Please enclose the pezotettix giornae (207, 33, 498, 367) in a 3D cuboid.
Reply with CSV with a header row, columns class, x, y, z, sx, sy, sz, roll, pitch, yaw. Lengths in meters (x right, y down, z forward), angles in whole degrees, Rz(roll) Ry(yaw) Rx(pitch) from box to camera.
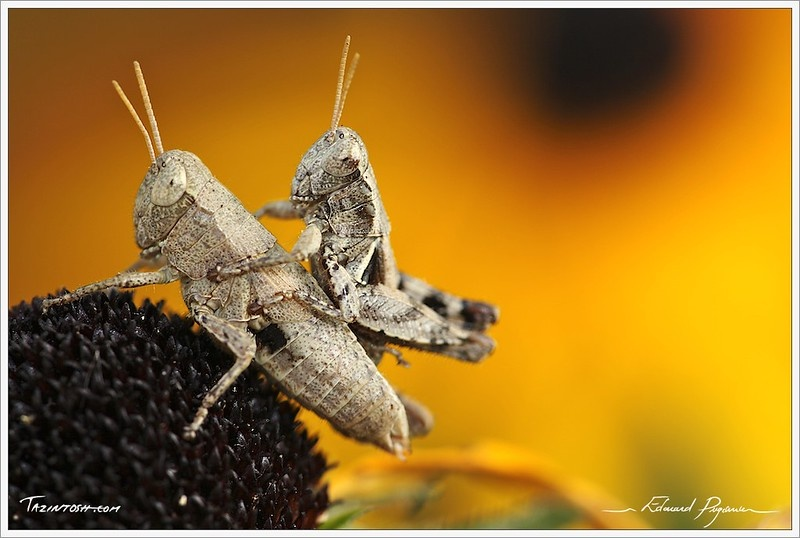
class,x,y,z,sx,sy,sz,roll,pitch,yaw
pezotettix giornae,-0.122,-0.158,3.540,1.291,1.009,0.676,44,-15,-31
